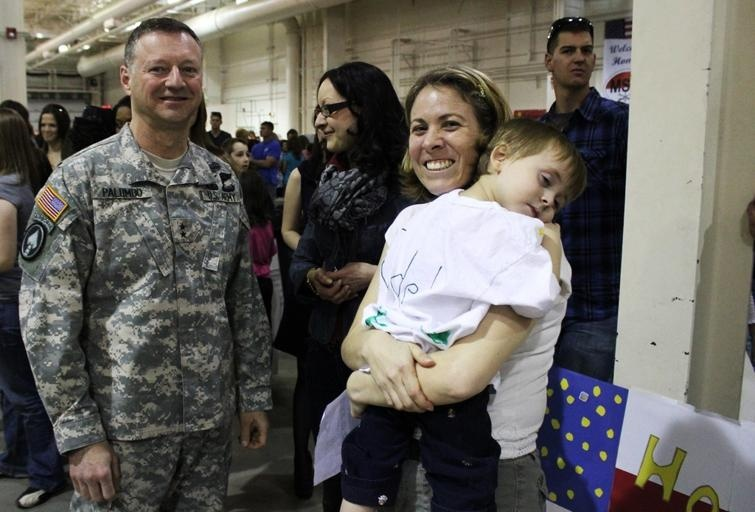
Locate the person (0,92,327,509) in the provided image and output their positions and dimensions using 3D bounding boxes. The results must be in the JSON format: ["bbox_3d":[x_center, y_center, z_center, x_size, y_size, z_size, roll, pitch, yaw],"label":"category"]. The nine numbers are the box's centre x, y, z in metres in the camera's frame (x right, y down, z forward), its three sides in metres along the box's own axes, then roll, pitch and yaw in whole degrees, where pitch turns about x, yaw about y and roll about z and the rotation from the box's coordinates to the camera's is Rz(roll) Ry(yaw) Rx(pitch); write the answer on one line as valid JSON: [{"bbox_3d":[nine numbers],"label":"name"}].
[{"bbox_3d":[-0.832,0.499,2.937,0.814,2.105,1.575,-2,6,2],"label":"person"}]

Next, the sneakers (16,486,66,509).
[{"bbox_3d":[-2.019,1.419,3.720,0.089,0.089,0.231,13,3,40],"label":"sneakers"}]

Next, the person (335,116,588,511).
[{"bbox_3d":[0.252,0.177,1.928,0.749,1.179,0.398,-1,6,18],"label":"person"}]
